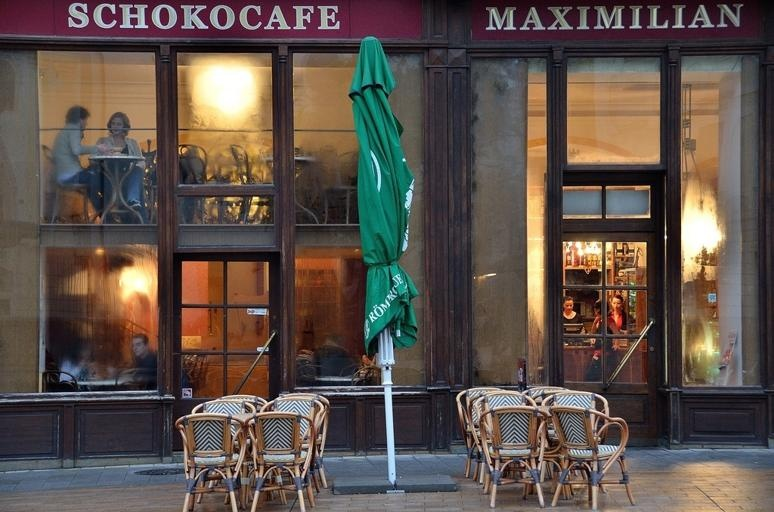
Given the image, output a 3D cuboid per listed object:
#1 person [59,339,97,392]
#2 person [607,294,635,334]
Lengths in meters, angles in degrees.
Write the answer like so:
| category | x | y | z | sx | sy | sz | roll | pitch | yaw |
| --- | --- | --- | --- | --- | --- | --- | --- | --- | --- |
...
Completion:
| category | x | y | z | sx | sy | sz | roll | pitch | yaw |
| --- | --- | --- | --- | --- | --- | --- | --- | --- | --- |
| person | -4.975 | 1.743 | 19.747 | 0.496 | 0.823 | 0.182 | 4 | 1 | -16 |
| person | 3.818 | 0.958 | 20.361 | 0.544 | 0.794 | 0.290 | -2 | -6 | -2 |
